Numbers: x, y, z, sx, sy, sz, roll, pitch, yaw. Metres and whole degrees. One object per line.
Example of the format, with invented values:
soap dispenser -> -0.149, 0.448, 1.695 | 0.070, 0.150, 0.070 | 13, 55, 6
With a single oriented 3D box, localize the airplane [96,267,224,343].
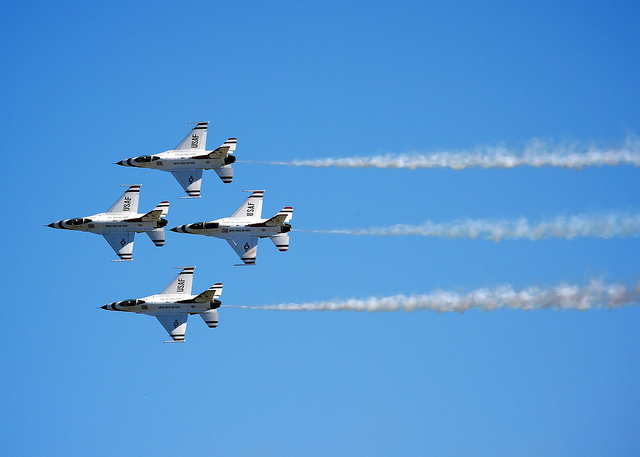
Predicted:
airplane -> -7.819, 3.541, 67.935 | 6.416, 1.810, 3.667 | 0, 60, 4

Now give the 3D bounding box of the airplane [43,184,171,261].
airplane -> -10.624, -0.426, 69.128 | 6.275, 2.008, 4.018 | 0, 65, 5

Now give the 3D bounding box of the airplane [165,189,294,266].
airplane -> -4.345, -0.239, 68.600 | 6.271, 2.142, 4.201 | -2, 58, 3
